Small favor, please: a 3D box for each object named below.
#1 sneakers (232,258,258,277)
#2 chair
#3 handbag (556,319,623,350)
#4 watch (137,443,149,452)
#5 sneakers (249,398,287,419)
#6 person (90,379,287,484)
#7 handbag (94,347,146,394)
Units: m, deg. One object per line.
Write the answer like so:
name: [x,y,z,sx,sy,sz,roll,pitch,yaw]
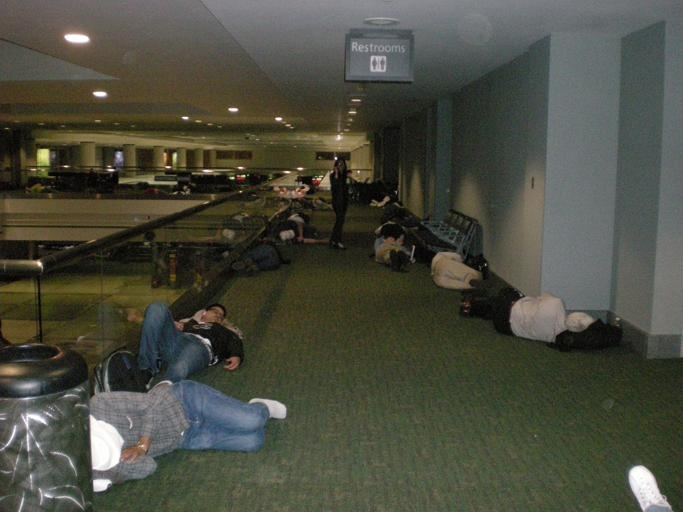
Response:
sneakers: [-1.646,0.198,8.527,0.221,0.151,0.507,12,9,31]
chair: [2.010,-0.391,9.671,1.034,0.631,1.962,-3,9,-4]
handbag: [2.559,0.829,5.138,0.493,0.162,0.333,-6,2,-31]
watch: [-1.213,1.175,3.089,0.055,0.027,0.044,27,-14,28]
sneakers: [-0.567,1.133,3.731,0.332,0.114,0.114,13,52,1]
person: [-1.019,1.066,3.304,1.236,0.526,0.493,-9,15,-36]
handbag: [-1.601,0.846,3.634,0.125,0.339,0.267,-20,4,37]
